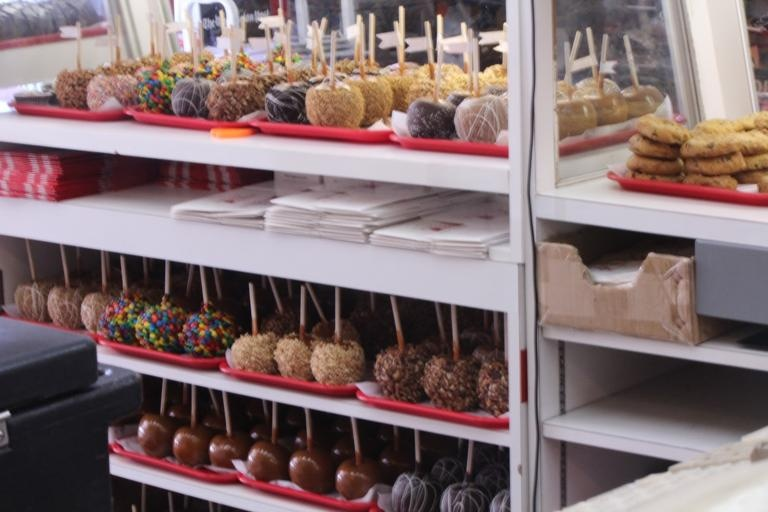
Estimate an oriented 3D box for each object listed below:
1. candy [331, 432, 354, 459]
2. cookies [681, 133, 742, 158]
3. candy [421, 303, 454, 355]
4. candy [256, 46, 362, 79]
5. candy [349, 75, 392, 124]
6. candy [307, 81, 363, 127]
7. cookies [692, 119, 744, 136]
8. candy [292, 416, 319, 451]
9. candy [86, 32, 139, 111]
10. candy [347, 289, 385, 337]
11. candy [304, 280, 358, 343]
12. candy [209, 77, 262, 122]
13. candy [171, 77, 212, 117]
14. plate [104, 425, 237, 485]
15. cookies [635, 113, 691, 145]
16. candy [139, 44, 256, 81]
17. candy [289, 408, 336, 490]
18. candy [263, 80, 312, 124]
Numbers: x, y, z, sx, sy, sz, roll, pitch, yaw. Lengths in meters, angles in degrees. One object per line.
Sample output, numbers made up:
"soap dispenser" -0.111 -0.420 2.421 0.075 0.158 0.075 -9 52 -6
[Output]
"candy" -0.118 0.559 1.991 0.051 0.062 0.051 -1 -13 -1
"cookies" 0.676 -0.225 1.424 0.112 0.042 0.094 0 17 19
"candy" 0.147 0.204 1.857 0.080 0.155 0.071 3 33 25
"candy" -0.221 -0.588 2.101 0.237 0.086 0.256 -2 4 -6
"candy" -0.036 -0.426 1.937 0.126 0.123 0.124 0 3 -21
"candy" -0.128 -0.396 1.818 0.130 0.120 0.130 0 18 9
"cookies" 0.747 -0.284 1.526 0.073 0.022 0.074 -4 15 1
"candy" -0.238 0.530 2.046 0.075 0.102 0.074 2 -3 -26
"candy" -0.896 -0.580 2.285 0.190 0.265 0.094 -10 -30 -7
"candy" -0.048 0.177 2.058 0.101 0.064 0.132 -3 5 2
"candy" -0.158 0.165 1.993 0.103 0.229 0.135 -18 -6 -6
"candy" -0.427 -0.437 1.989 0.118 0.090 0.132 -20 13 -26
"candy" -0.565 -0.462 2.030 0.116 0.111 0.118 12 13 38
"plate" -0.689 0.636 2.143 0.300 0.033 0.184 11 10 26
"cookies" 0.603 -0.267 1.476 0.099 0.058 0.106 2 18 25
"candy" -0.618 -0.610 2.233 0.224 0.082 0.246 -8 10 -34
"candy" -0.209 0.545 1.919 0.121 0.246 0.101 8 21 40
"candy" -0.272 -0.414 1.923 0.118 0.108 0.117 -14 10 -20
